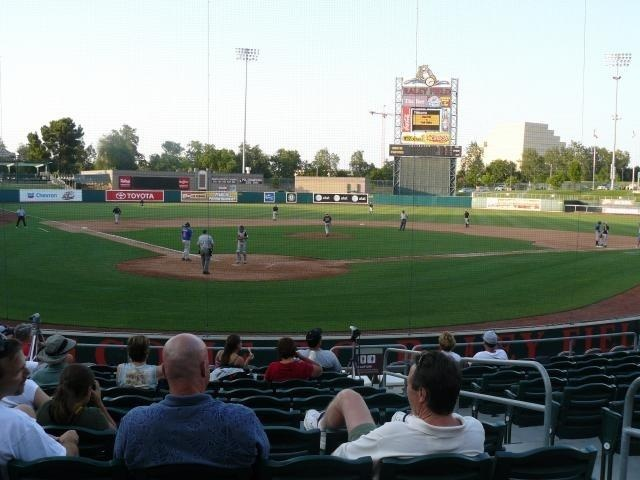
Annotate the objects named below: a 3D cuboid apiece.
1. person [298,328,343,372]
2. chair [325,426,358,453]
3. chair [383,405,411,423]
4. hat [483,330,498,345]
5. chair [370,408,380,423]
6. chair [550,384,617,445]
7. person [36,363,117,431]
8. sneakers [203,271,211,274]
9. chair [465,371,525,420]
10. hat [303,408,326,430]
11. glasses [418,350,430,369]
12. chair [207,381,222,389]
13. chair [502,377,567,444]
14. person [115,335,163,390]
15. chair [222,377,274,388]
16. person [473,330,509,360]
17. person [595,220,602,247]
[{"bbox_3d":[-0.005,2.225,16.245,0.886,0.820,0.496,1,25,8],"label":"person"},{"bbox_3d":[0.276,2.931,12.044,0.291,0.512,0.519,-1,4,12],"label":"chair"},{"bbox_3d":[1.133,2.591,12.107,0.359,0.253,0.457,6,-37,9],"label":"chair"},{"bbox_3d":[3.279,1.878,15.747,0.215,0.158,0.298,6,28,15],"label":"hat"},{"bbox_3d":[0.853,2.732,12.602,0.164,0.179,0.203,0,-2,-1],"label":"chair"},{"bbox_3d":[4.359,2.914,13.746,0.971,1.206,0.922,-1,7,-3],"label":"chair"},{"bbox_3d":[-3.740,2.421,12.398,0.662,1.125,0.712,9,20,0],"label":"person"},{"bbox_3d":[-3.606,1.055,26.049,0.225,0.155,0.085,-2,11,-13],"label":"sneakers"},{"bbox_3d":[3.079,2.711,14.746,0.834,1.064,0.806,-2,6,-12],"label":"chair"},{"bbox_3d":[-0.095,2.646,11.993,0.250,0.173,0.505,-3,-5,-4],"label":"hat"},{"bbox_3d":[1.390,1.647,11.196,0.164,0.189,0.188,-3,3,-20],"label":"glasses"},{"bbox_3d":[-1.784,2.492,13.984,0.197,0.134,0.179,-1,6,-28],"label":"chair"},{"bbox_3d":[3.679,2.887,13.784,0.930,1.243,0.967,0,2,1],"label":"chair"},{"bbox_3d":[-3.231,2.230,14.595,0.884,1.281,0.626,1,15,-7],"label":"person"},{"bbox_3d":[-1.281,2.497,14.181,0.480,0.113,0.217,2,9,0],"label":"chair"},{"bbox_3d":[3.396,2.136,16.414,0.695,0.620,0.390,-2,13,4],"label":"person"},{"bbox_3d":[12.588,-0.263,37.018,0.286,1.183,1.865,2,3,18],"label":"person"}]
